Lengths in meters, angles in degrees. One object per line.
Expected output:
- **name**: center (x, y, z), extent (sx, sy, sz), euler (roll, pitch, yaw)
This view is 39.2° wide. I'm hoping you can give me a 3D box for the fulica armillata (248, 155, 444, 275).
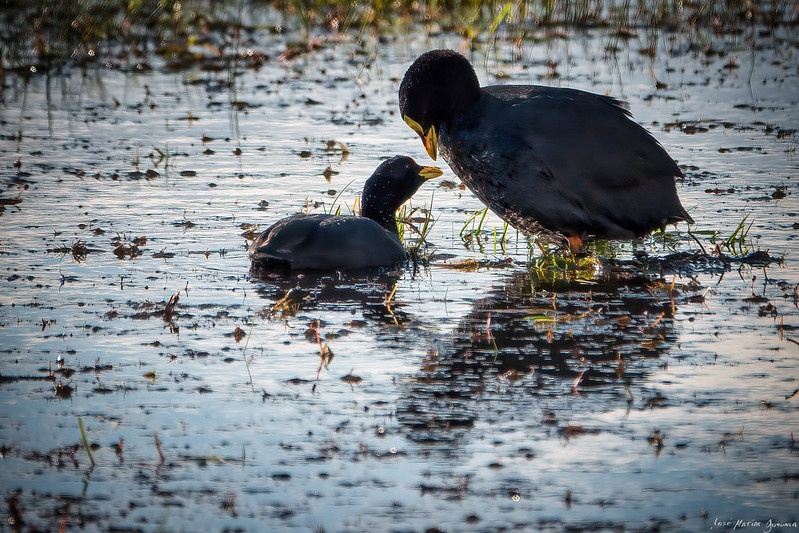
- **fulica armillata**: center (-0.476, -0.402, 8.388), extent (0.714, 0.775, 1.758), euler (16, 16, 34)
